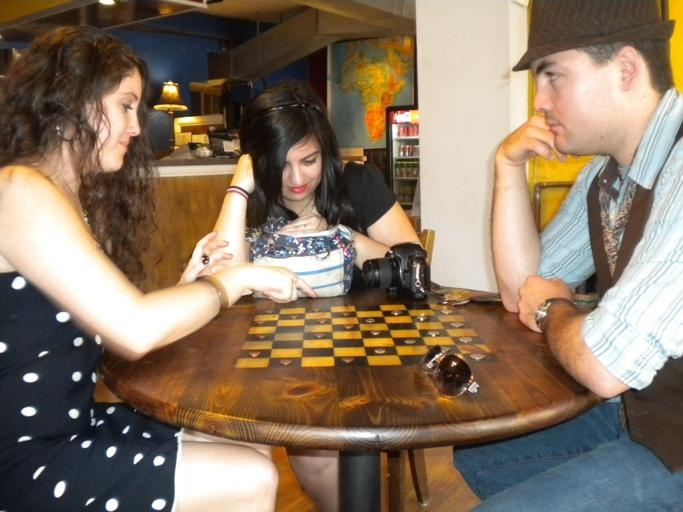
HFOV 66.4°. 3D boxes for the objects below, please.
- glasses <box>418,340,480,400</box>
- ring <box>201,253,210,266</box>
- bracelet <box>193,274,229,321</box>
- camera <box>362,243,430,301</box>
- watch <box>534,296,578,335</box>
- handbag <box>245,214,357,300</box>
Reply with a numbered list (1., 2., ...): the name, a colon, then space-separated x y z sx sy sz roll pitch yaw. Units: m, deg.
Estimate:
1. glasses: 0.247 0.260 1.215 0.071 0.057 0.115 27 -4 -8
2. ring: -0.457 0.011 1.749 0.029 0.011 0.029 5 36 -3
3. bracelet: -0.343 0.104 1.397 0.027 0.091 0.095 -19 41 -9
4. camera: 0.200 0.042 1.939 0.238 0.174 0.282 -3 9 4
5. watch: 0.594 0.143 1.483 0.049 0.109 0.110 37 69 25
6. handbag: -0.145 0.006 1.947 0.323 0.123 0.319 2 22 -4
